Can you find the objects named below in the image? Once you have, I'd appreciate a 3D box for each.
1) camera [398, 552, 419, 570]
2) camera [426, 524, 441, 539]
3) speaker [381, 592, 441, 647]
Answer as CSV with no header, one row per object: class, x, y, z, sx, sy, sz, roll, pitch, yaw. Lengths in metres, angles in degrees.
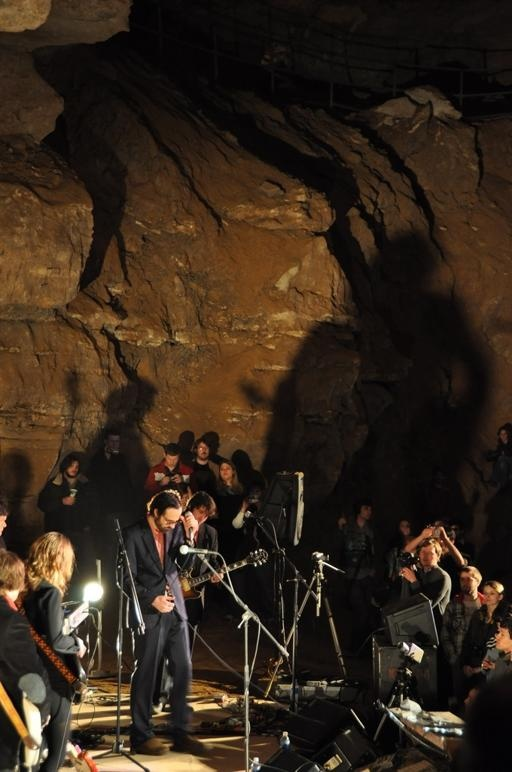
camera,1.553,1.854,11.211,0.187,0.152,0.156,-24,-12,31
camera,1.927,1.598,11.668,0.150,0.134,0.057,-16,13,-36
speaker,1.479,2.256,10.284,0.528,0.444,0.471,2,-2,-2
